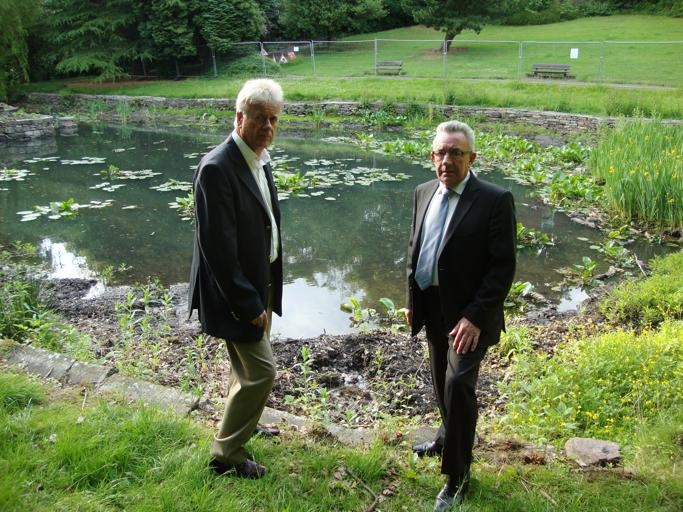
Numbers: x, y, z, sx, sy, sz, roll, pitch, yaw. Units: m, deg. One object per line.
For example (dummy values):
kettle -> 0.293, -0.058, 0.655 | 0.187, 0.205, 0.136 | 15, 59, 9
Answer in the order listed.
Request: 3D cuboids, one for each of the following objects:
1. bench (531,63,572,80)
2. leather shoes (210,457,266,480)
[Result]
bench -> 8.386, -7.401, 21.726 | 1.047, 0.595, 1.695 | -12, 19, -24
leather shoes -> -0.626, 1.327, 3.398 | 0.378, 0.145, 0.129 | 3, 13, -13
